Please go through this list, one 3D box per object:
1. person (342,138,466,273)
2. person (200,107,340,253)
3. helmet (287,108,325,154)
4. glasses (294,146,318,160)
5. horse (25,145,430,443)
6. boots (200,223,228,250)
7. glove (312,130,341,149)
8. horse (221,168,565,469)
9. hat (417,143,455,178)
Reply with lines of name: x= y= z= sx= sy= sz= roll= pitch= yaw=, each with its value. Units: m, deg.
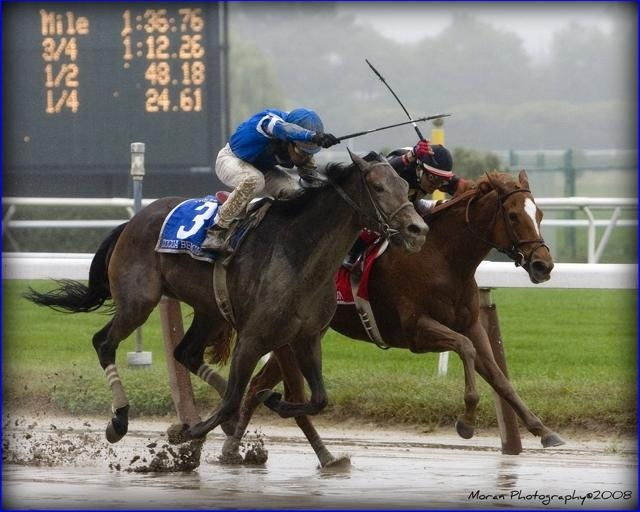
person: x=0.743 y=-0.416 z=8.799 sx=1.112 sy=0.834 sz=0.515 roll=9 pitch=24 yaw=34
person: x=-0.298 y=-0.467 z=8.550 sx=1.048 sy=0.919 sz=0.535 roll=7 pitch=-1 yaw=44
helmet: x=-0.085 y=-0.767 z=8.318 sx=0.220 sy=0.300 sz=0.428 roll=-2 pitch=12 yaw=-8
glasses: x=-0.084 y=-0.641 z=8.368 sx=0.080 sy=0.049 sz=0.109 roll=-1 pitch=23 yaw=-30
horse: x=-0.610 y=0.313 z=8.804 sx=2.970 sy=1.971 sz=0.751 roll=0 pitch=1 yaw=34
boots: x=-0.661 y=-0.105 z=8.467 sx=0.155 sy=0.156 sz=0.066 roll=11 pitch=-13 yaw=29
glove: x=0.031 y=-0.697 z=8.202 sx=0.166 sy=0.101 sz=0.235 roll=-3 pitch=13 yaw=-13
horse: x=0.463 y=0.507 z=9.211 sx=2.602 sy=1.811 sz=0.775 roll=-12 pitch=-16 yaw=36
hat: x=0.777 y=-0.622 z=8.906 sx=0.180 sy=0.138 sz=0.239 roll=11 pitch=29 yaw=-41
